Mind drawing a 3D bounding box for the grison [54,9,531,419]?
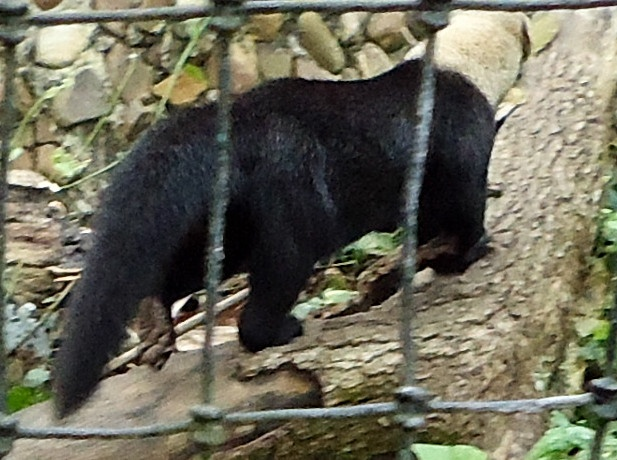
[{"bbox_3d":[0.065,-0.148,3.847,0.505,0.768,2.016,14,24,40],"label":"grison"}]
